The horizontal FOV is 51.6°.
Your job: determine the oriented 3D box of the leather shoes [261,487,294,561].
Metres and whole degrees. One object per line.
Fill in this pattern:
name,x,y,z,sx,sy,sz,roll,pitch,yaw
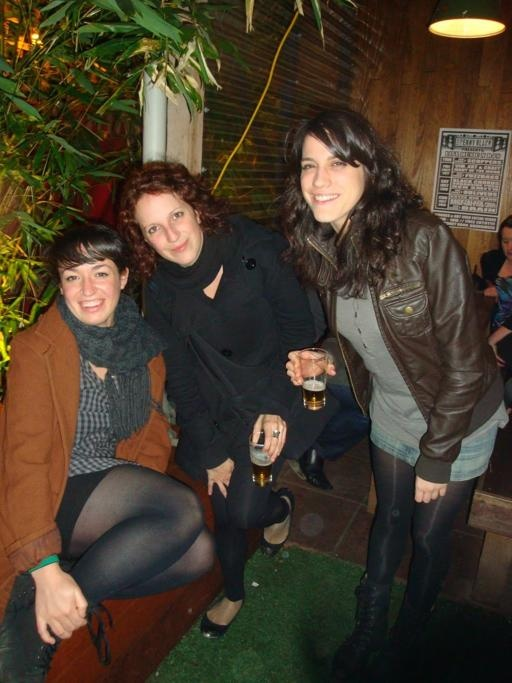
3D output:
leather shoes,0.098,0.748,2.137,0.105,0.303,0.129,9,9,6

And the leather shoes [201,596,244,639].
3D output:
leather shoes,-0.115,0.918,1.806,0.083,0.062,0.174,26,35,35

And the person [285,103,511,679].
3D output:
person,0.420,0.196,1.582,0.525,1.612,0.652,-7,26,-16

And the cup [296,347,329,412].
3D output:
cup,0.179,0.125,1.725,0.127,0.201,0.119,0,40,0
